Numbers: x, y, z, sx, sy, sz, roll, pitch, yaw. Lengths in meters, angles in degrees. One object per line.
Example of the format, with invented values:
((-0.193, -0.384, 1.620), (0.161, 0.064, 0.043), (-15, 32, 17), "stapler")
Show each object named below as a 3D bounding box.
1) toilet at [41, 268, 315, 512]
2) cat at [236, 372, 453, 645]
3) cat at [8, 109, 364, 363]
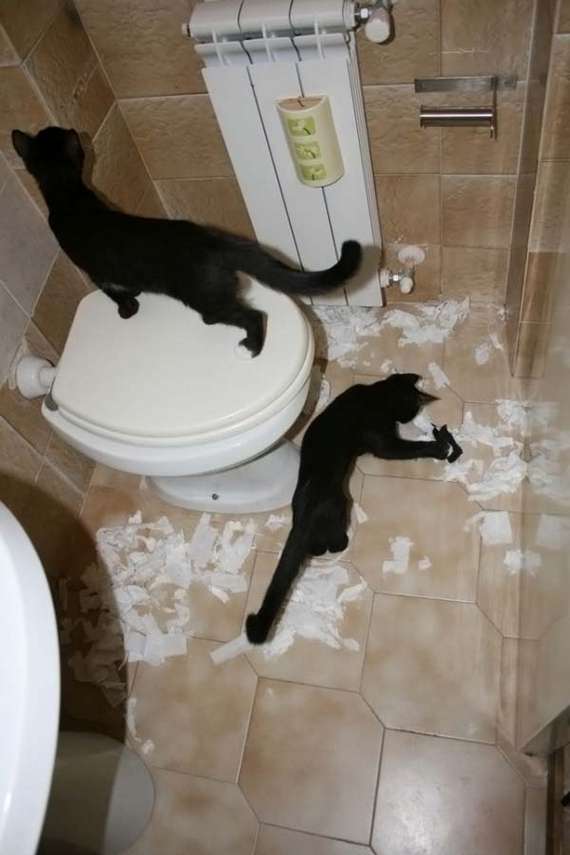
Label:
((-0.169, -0.040, 1.277), (0.479, 0.386, 0.440), (5, 51, 17), "toilet")
((0.112, 0.142, 1.289), (0.266, 0.259, 0.593), (24, 69, 43), "cat")
((-0.202, -0.381, 1.201), (0.571, 0.289, 0.148), (30, 73, 8), "cat")
